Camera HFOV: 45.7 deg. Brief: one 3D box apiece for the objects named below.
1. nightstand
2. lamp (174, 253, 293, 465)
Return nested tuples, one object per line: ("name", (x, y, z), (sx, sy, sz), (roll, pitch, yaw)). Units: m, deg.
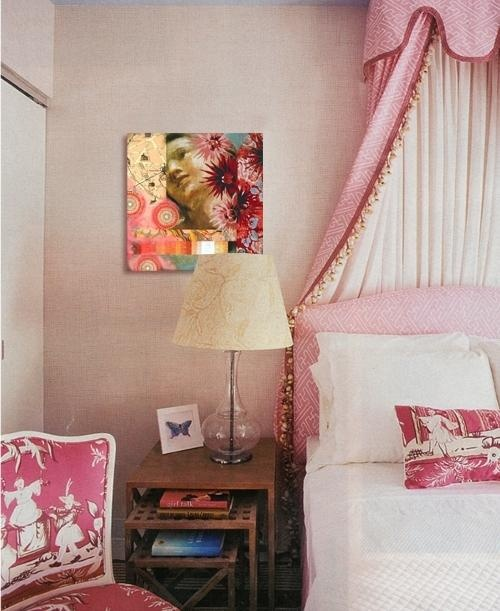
("nightstand", (-0.151, 0.690, 2.030), (0.499, 0.492, 0.559), (-1, -4, 4))
("lamp", (-0.068, 0.204, 2.080), (0.331, 0.783, 0.399), (-19, 16, -40))
